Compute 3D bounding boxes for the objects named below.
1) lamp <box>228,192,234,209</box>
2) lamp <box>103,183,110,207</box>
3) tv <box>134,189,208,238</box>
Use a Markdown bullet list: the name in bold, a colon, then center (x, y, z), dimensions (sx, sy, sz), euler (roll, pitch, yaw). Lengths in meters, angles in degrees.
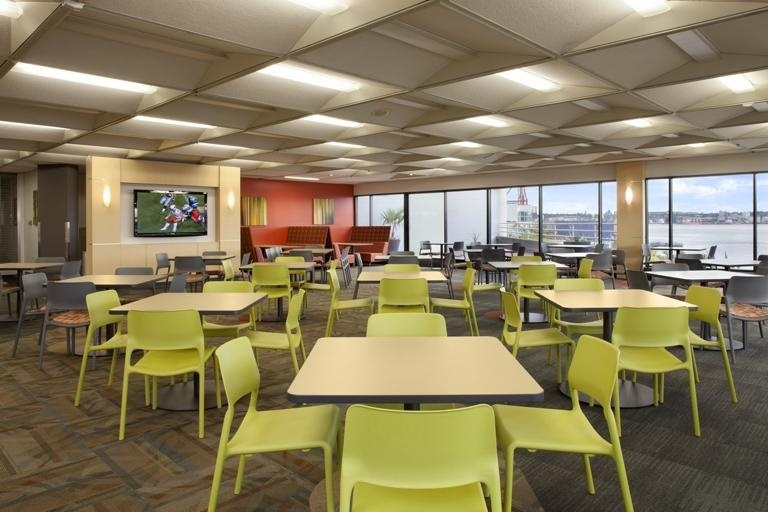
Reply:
- **lamp**: center (-4.460, -1.630, 13.572), dimensions (0.206, 0.459, 0.055), euler (-4, 6, -30)
- **lamp**: center (-6.871, -1.494, 11.519), dimensions (0.085, 0.534, 0.166), euler (4, 7, 45)
- **tv**: center (-5.886, -1.169, 12.612), dimensions (1.621, 0.943, 0.057), euler (-2, 6, -39)
